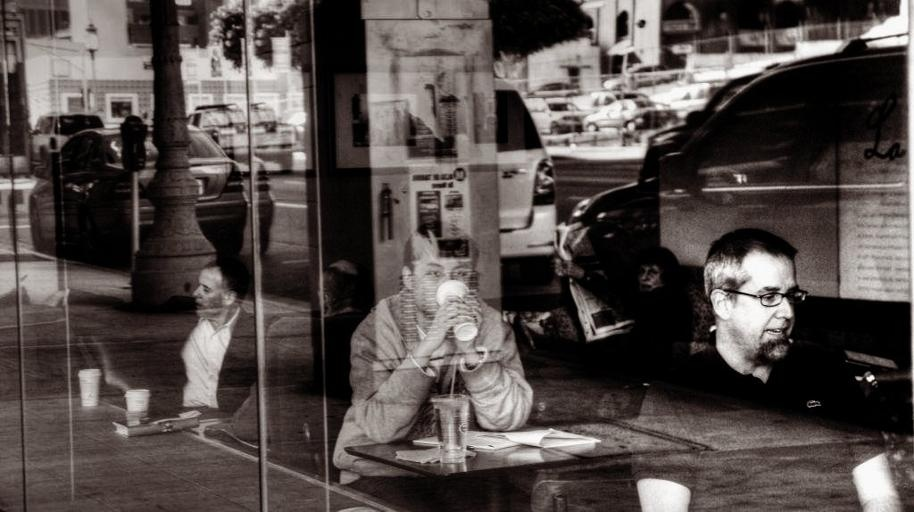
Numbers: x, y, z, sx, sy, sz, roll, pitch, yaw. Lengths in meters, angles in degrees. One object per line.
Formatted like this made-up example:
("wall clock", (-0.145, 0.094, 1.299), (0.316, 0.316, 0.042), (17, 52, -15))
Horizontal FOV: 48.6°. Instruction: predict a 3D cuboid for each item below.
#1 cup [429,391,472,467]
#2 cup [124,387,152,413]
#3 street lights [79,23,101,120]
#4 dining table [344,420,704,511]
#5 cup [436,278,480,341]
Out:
("cup", (-0.029, 0.742, 4.337), (0.149, 0.261, 0.244), (1, 6, -1))
("cup", (-1.658, 0.747, 5.287), (0.158, 0.114, 0.154), (0, -2, 0))
("street lights", (-1.894, -0.980, 5.226), (0.123, 0.465, 0.026), (6, 9, 38))
("dining table", (0.333, 0.955, 4.611), (1.112, 0.444, 0.543), (-1, 6, -21))
("cup", (0.007, 0.254, 4.834), (0.215, 0.281, 0.143), (-4, -1, -4))
